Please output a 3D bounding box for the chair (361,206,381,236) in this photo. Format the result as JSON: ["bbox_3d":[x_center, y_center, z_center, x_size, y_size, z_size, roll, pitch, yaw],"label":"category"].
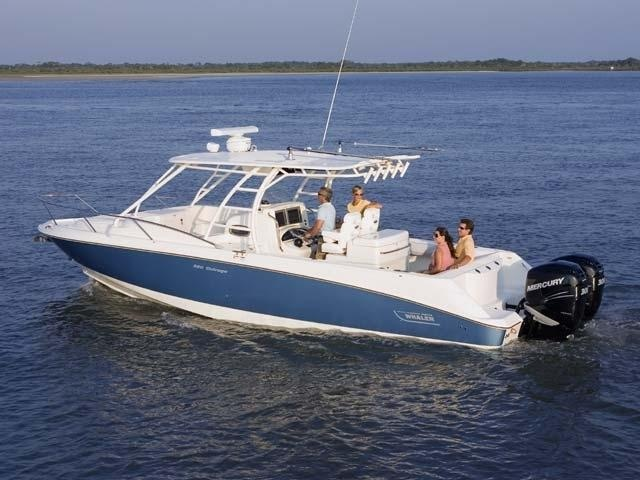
[{"bbox_3d":[0.938,-0.347,13.825,0.335,0.519,0.423,7,15,6],"label":"chair"}]

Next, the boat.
[{"bbox_3d":[0.474,-0.894,14.024,8.687,5.142,5.467,13,17,40],"label":"boat"}]

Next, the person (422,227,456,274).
[{"bbox_3d":[2.248,0.207,13.495,0.509,0.853,0.999,7,13,8],"label":"person"}]

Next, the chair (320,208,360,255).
[{"bbox_3d":[0.363,-0.109,13.636,0.714,0.805,0.433,4,17,1],"label":"chair"}]
